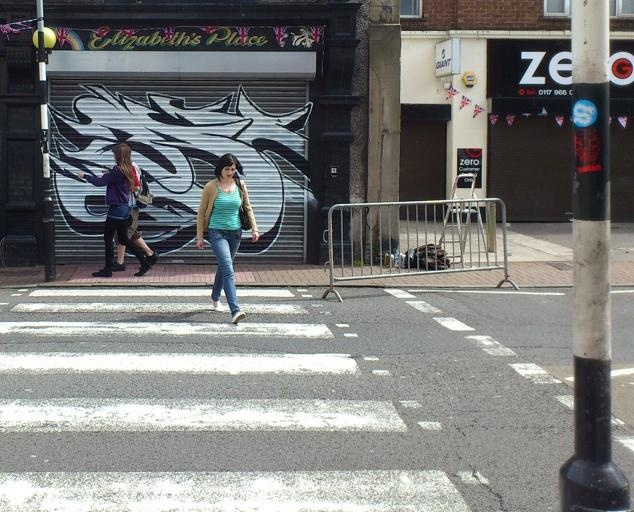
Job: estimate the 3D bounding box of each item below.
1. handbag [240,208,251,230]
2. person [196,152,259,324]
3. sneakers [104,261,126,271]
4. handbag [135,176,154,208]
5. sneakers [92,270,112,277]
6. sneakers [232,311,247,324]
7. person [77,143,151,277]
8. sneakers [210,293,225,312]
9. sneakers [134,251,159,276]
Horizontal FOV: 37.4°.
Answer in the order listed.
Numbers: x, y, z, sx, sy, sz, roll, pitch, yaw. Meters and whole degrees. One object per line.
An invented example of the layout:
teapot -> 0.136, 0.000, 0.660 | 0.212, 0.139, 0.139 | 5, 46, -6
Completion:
handbag -> -0.838, -0.423, 10.938 | 0.086, 0.240, 0.173 | -7, 19, -4
person -> -1.044, -0.208, 10.862 | 0.674, 1.908, 0.928 | 0, 9, -3
sneakers -> -3.109, 0.171, 14.624 | 0.103, 0.118, 0.265 | -3, 7, -41
handbag -> -2.694, -0.979, 14.634 | 0.311, 0.618, 0.593 | 0, 5, -3
sneakers -> -3.226, 0.261, 14.081 | 0.313, 0.142, 0.119 | 3, 6, 24
sneakers -> -0.878, 0.713, 10.589 | 0.077, 0.091, 0.217 | -7, -22, -32
person -> -2.983, -0.666, 14.077 | 0.889, 1.959, 0.528 | -2, 9, -17
sneakers -> -1.216, 0.600, 11.445 | 0.097, 0.135, 0.296 | -6, 3, -20
sneakers -> -2.572, 0.157, 14.242 | 0.212, 0.514, 0.181 | 31, 32, -23
